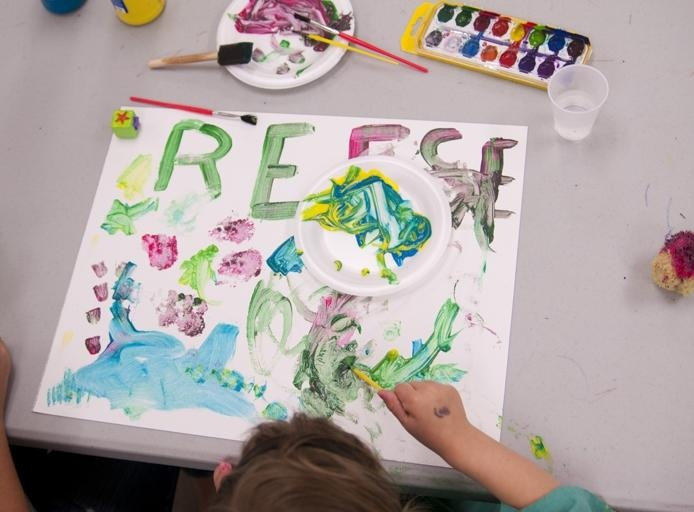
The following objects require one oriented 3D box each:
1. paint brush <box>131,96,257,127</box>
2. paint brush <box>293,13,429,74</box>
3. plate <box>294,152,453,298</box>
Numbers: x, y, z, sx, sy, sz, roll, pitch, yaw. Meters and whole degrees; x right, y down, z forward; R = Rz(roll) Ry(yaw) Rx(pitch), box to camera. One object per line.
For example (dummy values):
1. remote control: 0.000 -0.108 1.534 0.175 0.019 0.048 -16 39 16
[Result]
1. paint brush: -0.383 -0.368 1.626 0.229 0.033 0.028 14 100 11
2. paint brush: 0.032 -0.537 1.620 0.296 0.041 0.016 26 43 -2
3. plate: 0.056 -0.073 1.461 0.352 0.063 0.329 0 81 -2
